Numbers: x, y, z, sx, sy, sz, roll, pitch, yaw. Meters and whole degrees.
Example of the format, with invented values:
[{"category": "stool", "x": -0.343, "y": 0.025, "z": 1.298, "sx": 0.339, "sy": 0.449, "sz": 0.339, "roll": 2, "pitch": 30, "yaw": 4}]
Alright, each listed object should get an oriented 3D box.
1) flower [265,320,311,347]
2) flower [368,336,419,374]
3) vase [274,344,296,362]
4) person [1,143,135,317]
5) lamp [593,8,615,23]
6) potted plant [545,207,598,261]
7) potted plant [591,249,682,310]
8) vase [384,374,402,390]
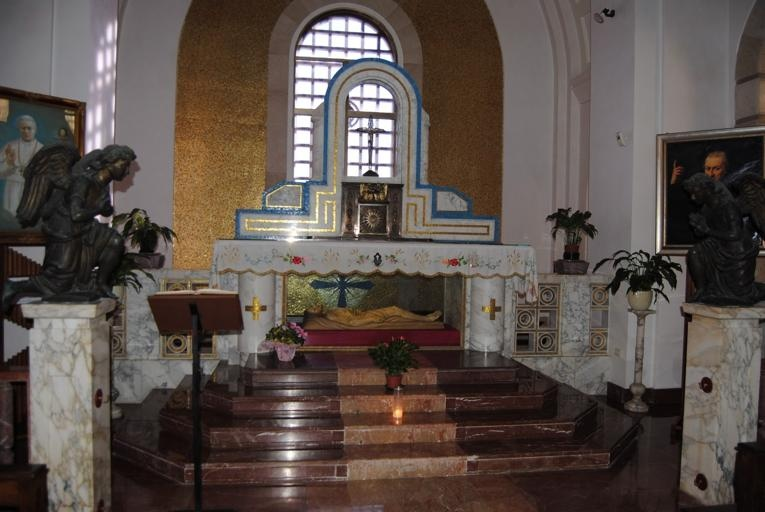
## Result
[{"category": "flower", "x": -1.284, "y": 1.044, "z": 9.239, "sx": 0.382, "sy": 0.268, "sz": 0.388, "roll": 2, "pitch": -1, "yaw": -4}, {"category": "flower", "x": 0.178, "y": 1.271, "z": 8.766, "sx": 0.559, "sy": 0.488, "sz": 0.591, "roll": -1, "pitch": 17, "yaw": 35}, {"category": "vase", "x": -1.300, "y": 1.272, "z": 9.156, "sx": 0.236, "sy": 0.174, "sz": 0.242, "roll": 1, "pitch": 2, "yaw": 11}, {"category": "person", "x": -3.157, "y": -0.324, "z": 6.990, "sx": 1.184, "sy": 1.594, "sz": 0.429, "roll": -1, "pitch": 0, "yaw": -20}, {"category": "lamp", "x": 3.323, "y": -3.597, "z": 10.311, "sx": 0.209, "sy": 0.121, "sz": 0.213, "roll": -7, "pitch": 15, "yaw": 38}, {"category": "potted plant", "x": 2.980, "y": -0.370, "z": 10.891, "sx": 0.816, "sy": 0.845, "sz": 0.830, "roll": -1, "pitch": -7, "yaw": 30}, {"category": "potted plant", "x": 3.618, "y": 0.309, "z": 9.782, "sx": 0.860, "sy": 0.608, "sz": 0.871, "roll": 3, "pitch": -4, "yaw": -13}, {"category": "vase", "x": 0.134, "y": 1.571, "z": 8.611, "sx": 0.198, "sy": 0.150, "sz": 0.201, "roll": -1, "pitch": 5, "yaw": -9}]
